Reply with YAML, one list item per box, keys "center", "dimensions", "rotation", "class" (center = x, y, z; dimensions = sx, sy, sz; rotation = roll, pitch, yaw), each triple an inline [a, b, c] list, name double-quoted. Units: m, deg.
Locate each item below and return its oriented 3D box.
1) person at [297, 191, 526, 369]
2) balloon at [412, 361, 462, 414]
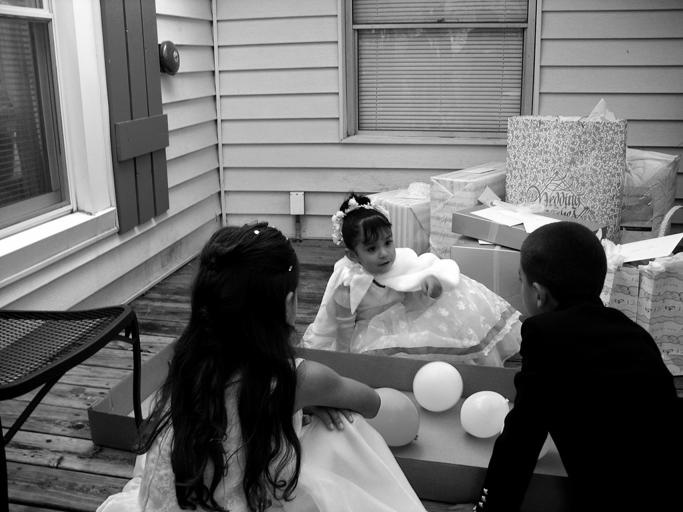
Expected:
- center: [0.286, 0.169, 2.607]
  dimensions: [1.012, 0.905, 0.566]
  rotation: [0, 21, 19]
  class: "person"
- center: [0.358, 0.490, 2.184]
  dimensions: [0.179, 0.179, 0.100]
  rotation: [-39, 5, 6]
  class: "balloon"
